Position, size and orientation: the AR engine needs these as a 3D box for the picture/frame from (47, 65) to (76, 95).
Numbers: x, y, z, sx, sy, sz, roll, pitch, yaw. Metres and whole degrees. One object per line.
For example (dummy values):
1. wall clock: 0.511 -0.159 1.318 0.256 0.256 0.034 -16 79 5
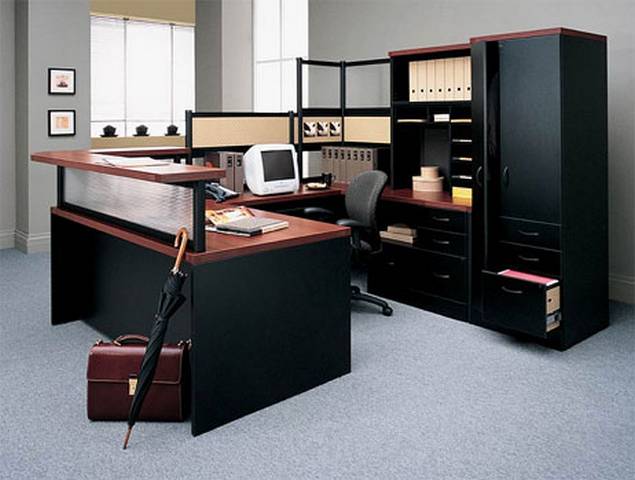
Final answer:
1. picture/frame: -3.111 -1.953 6.147 0.352 0.451 0.035 2 3 -40

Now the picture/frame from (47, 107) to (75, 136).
1. picture/frame: -3.134 -1.464 6.197 0.027 0.348 0.346 5 6 44

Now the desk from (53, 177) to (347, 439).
1. desk: -0.606 -0.127 3.257 1.981 1.108 1.340 8 12 41

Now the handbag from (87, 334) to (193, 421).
1. handbag: -0.972 0.779 2.801 0.471 0.436 0.191 1 2 9

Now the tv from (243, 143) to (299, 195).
1. tv: -0.448 -0.661 4.854 0.423 0.568 0.591 7 10 43

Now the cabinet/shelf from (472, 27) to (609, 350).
1. cabinet/shelf: 1.740 -0.379 3.789 1.071 2.236 0.781 -2 13 -9

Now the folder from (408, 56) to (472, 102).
1. folder: 1.112 -1.476 4.662 0.109 0.383 0.648 -11 18 -39

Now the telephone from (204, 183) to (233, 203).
1. telephone: -0.857 -0.417 4.392 0.171 0.053 0.176 24 30 28

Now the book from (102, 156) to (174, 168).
1. book: -1.153 -0.503 3.236 0.374 0.018 0.698 -8 17 -26

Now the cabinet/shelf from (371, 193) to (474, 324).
1. cabinet/shelf: 0.939 0.165 4.412 0.512 0.957 0.945 -3 7 -41

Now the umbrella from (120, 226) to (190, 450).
1. umbrella: -0.817 0.507 2.788 0.253 1.407 0.188 13 -8 -13
